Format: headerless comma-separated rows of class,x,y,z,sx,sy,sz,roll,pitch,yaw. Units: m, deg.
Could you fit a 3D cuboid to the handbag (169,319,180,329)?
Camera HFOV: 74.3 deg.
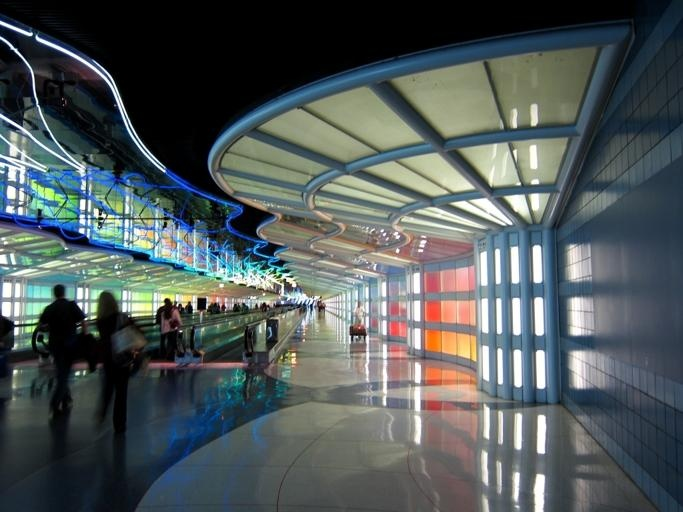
handbag,-5.494,2.126,14.827,0.321,0.389,0.212,5,-5,-43
